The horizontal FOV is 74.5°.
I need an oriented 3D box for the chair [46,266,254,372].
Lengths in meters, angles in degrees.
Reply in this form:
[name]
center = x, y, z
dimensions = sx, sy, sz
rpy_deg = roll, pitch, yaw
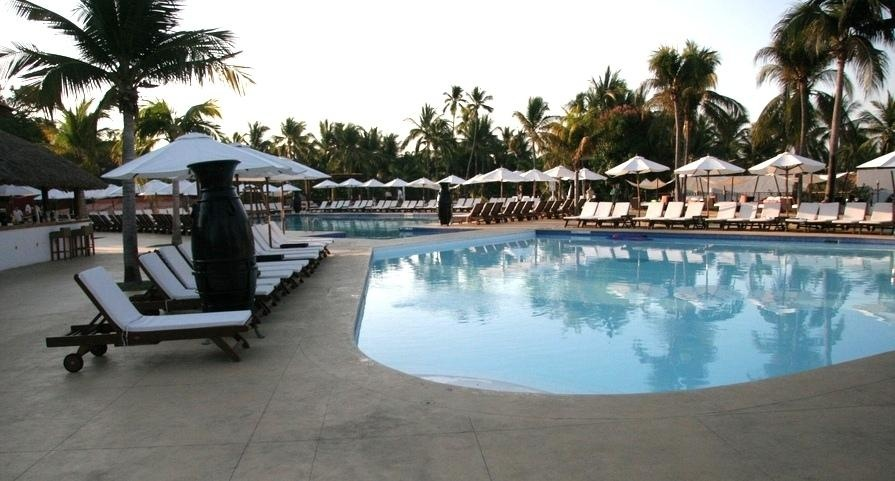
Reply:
[chair]
center = -5.330, 1.308, 10.571
dimensions = 3.200, 1.468, 1.382
rpy_deg = 0, 5, -14
